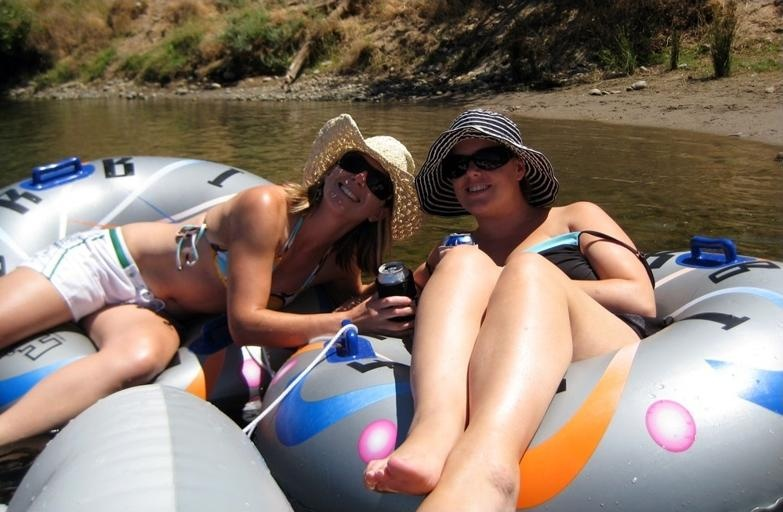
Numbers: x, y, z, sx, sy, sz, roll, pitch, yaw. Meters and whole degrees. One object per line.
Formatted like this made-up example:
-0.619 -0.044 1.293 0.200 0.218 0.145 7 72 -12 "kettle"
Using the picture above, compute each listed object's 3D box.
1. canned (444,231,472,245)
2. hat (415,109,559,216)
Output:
0.321 -0.077 2.863 0.091 0.048 0.075 -16 -30 36 "canned"
0.529 -0.599 3.302 0.689 0.700 0.364 9 55 -1 "hat"
